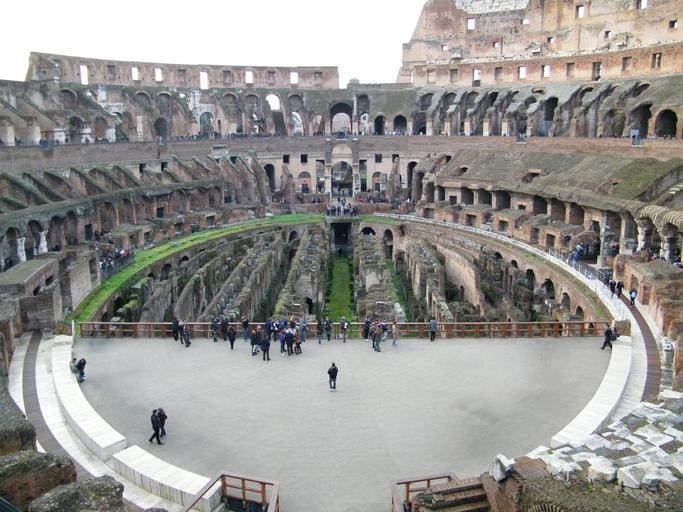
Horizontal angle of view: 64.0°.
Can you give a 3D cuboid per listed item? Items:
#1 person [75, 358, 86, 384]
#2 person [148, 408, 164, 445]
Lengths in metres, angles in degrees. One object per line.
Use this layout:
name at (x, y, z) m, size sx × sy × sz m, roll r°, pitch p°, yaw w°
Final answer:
person at (-8.103, 3.611, 16.918) m, size 0.349 × 0.605 × 0.706 m, roll 11°, pitch -32°, yaw -22°
person at (-4.787, 4.430, 14.097) m, size 0.383 × 0.820 × 0.281 m, roll -5°, pitch 3°, yaw -5°
